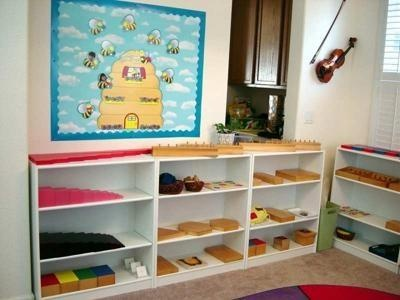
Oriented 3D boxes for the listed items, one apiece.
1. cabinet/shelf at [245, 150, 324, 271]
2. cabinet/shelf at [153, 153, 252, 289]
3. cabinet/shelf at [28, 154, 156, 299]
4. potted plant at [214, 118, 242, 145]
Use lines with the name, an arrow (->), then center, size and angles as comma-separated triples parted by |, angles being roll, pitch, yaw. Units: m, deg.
cabinet/shelf -> 1.028, 0.749, 3.955 | 1.305, 1.529, 0.494 | -2, 5, -25
cabinet/shelf -> 0.012, 0.773, 3.478 | 1.319, 1.476, 0.427 | -2, 4, -31
cabinet/shelf -> -1.026, 0.714, 2.981 | 1.336, 1.502, 0.483 | -1, 2, -36
potted plant -> 0.316, -0.224, 3.771 | 0.268, 0.257, 0.246 | 0, 10, -1
